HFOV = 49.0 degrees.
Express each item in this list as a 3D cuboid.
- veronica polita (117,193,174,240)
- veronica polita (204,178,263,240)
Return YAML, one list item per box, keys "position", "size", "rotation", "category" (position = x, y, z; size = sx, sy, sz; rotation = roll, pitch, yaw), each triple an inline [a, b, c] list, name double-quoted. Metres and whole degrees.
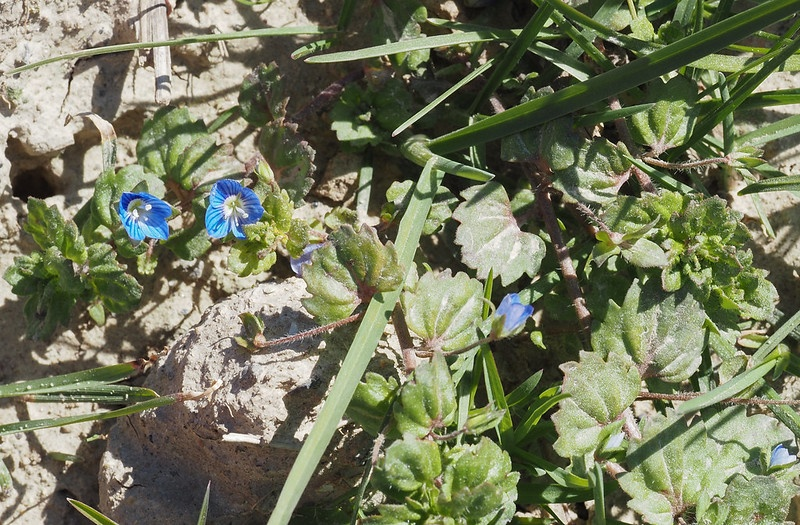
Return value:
- position: [-1.261, -0.231, 4.327]
  size: [0.250, 0.225, 0.126]
  rotation: [3, 5, -23]
  category: "veronica polita"
- position: [-0.823, -0.241, 4.326]
  size: [0.285, 0.285, 0.178]
  rotation: [42, -1, -7]
  category: "veronica polita"
